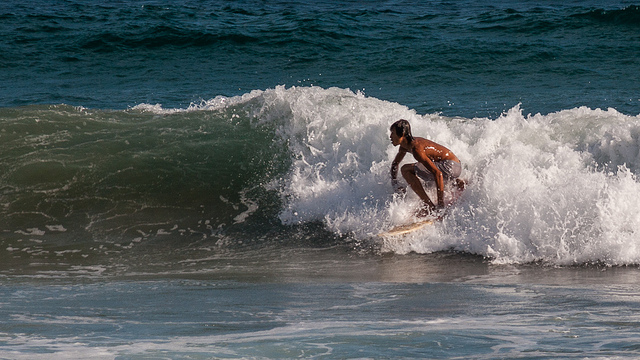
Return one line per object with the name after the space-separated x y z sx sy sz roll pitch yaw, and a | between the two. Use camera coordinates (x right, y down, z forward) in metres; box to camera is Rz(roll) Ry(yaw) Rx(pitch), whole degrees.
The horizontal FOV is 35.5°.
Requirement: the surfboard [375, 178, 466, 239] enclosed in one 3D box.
2.809 0.825 26.923 3.478 0.421 0.517 -20 44 2 | surfboard
